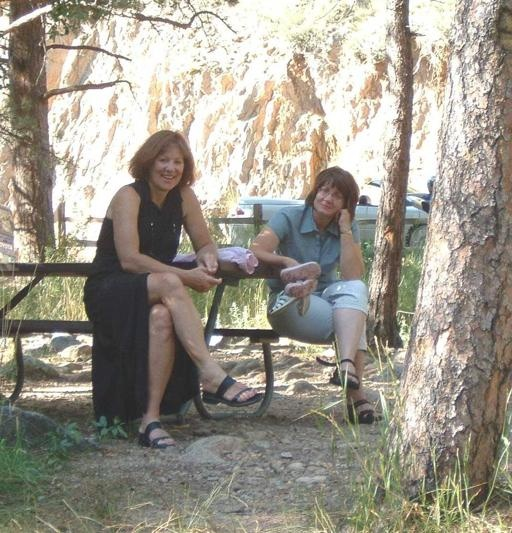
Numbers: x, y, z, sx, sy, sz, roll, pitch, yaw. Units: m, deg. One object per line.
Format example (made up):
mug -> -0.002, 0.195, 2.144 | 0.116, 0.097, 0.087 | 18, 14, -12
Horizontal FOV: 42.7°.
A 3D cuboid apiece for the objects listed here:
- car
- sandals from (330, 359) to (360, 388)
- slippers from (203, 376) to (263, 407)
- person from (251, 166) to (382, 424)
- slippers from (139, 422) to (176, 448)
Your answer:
car -> 1.724, -1.014, 13.631 | 3.798, 1.640, 1.984 | -2, 4, -1
sandals -> 0.431, 0.504, 3.098 | 0.086, 0.107, 0.278 | -2, -17, 4
slippers -> -0.141, 0.586, 3.041 | 0.303, 0.147, 0.119 | 1, 2, 14
person -> 0.356, 0.050, 3.525 | 0.672, 1.388, 0.796 | 5, 9, -1
slippers -> -0.478, 0.781, 3.069 | 0.099, 0.123, 0.250 | -1, 0, -40
